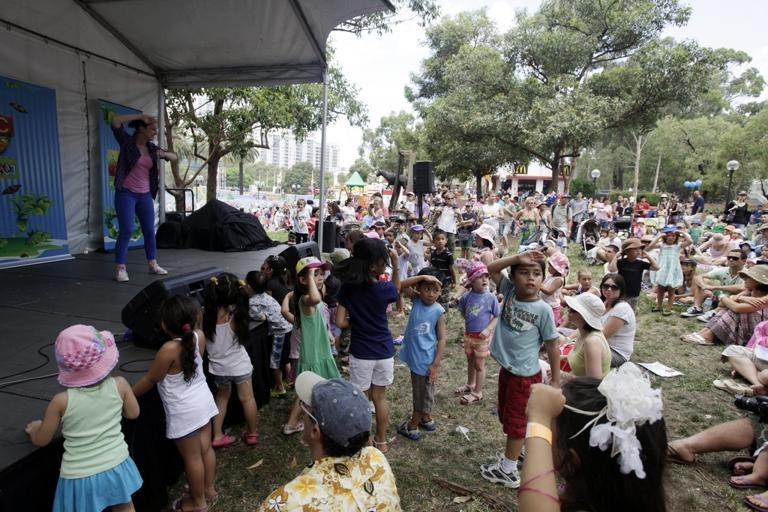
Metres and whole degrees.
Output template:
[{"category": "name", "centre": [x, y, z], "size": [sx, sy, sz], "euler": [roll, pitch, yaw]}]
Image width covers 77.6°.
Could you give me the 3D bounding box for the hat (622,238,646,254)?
[{"category": "hat", "centre": [3.959, -0.117, 7.711], "size": [0.241, 0.110, 0.296], "euler": [-15, -8, -4]}]

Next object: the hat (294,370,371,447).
[{"category": "hat", "centre": [-0.349, 1.073, 3.418], "size": [0.535, 0.434, 0.283], "euler": [6, 9, 34]}]

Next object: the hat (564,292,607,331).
[{"category": "hat", "centre": [2.077, 0.575, 4.951], "size": [0.363, 0.394, 0.245], "euler": [4, 8, 21]}]

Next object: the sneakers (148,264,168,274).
[{"category": "sneakers", "centre": [-3.562, 0.209, 7.514], "size": [0.374, 0.156, 0.129], "euler": [3, 7, 28]}]

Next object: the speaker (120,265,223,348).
[{"category": "speaker", "centre": [-2.452, 0.348, 5.407], "size": [0.763, 0.818, 1.115], "euler": [13, 8, 18]}]

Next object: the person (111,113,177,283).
[{"category": "person", "centre": [-3.577, -0.817, 6.988], "size": [0.674, 2.391, 0.410], "euler": [-3, 8, -29]}]

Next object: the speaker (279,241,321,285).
[{"category": "speaker", "centre": [-1.223, 0.096, 7.205], "size": [0.552, 0.431, 0.573], "euler": [6, 6, 24]}]
